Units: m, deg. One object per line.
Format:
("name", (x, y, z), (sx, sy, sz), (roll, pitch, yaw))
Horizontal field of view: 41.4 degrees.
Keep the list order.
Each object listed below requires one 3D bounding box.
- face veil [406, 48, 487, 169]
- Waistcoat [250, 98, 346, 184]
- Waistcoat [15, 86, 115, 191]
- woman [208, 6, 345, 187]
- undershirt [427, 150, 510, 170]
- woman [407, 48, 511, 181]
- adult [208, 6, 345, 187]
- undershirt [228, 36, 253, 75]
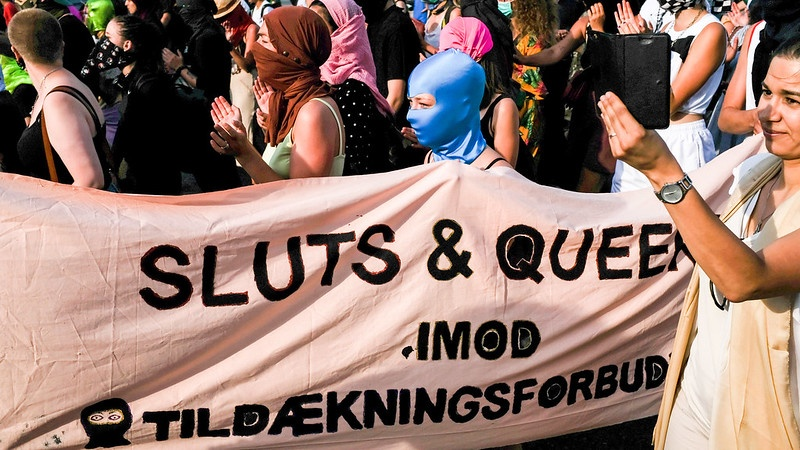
("face veil", (0.378, -0.897, 8.009), (0.815, 1.044, 0.681), (-3, 10, -8))
("Waistcoat", (-0.750, -0.790, 8.178), (0.603, 0.861, 0.602), (3, 39, -2))
("Waistcoat", (-2.782, -0.705, 8.381), (0.462, 0.609, 0.505), (-30, -38, 36))
("woman", (-0.838, -1.092, 8.396), (1.239, 1.714, 1.230), (3, 17, -5))
("undershirt", (0.587, -0.478, 7.954), (0.418, 0.213, 0.260), (-1, 1, 13))
("woman", (0.450, -0.861, 8.327), (0.804, 1.077, 1.221), (-8, 19, -6))
("adult", (-0.866, -1.077, 8.397), (1.239, 1.714, 1.230), (3, 17, -5))
("undershirt", (-1.738, -1.857, 11.575), (0.275, 0.396, 0.134), (-5, 3, 38))
